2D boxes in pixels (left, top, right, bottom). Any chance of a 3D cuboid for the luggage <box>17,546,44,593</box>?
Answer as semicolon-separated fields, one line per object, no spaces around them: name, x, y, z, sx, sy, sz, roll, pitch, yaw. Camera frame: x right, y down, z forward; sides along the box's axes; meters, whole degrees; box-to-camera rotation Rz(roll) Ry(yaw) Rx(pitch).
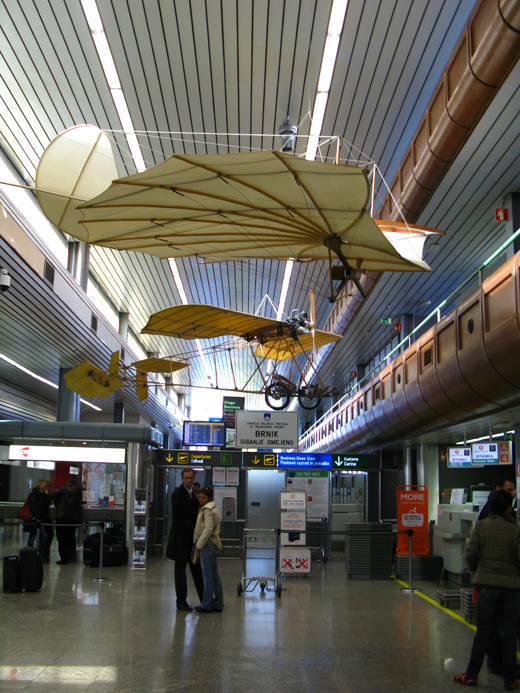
luggage;-3.522;3.431;8.203;0.353;0.684;0.398;2;4;-3

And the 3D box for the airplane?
airplane;-1.321;-0.948;13.138;4.622;1.879;4.298;2;-11;3
